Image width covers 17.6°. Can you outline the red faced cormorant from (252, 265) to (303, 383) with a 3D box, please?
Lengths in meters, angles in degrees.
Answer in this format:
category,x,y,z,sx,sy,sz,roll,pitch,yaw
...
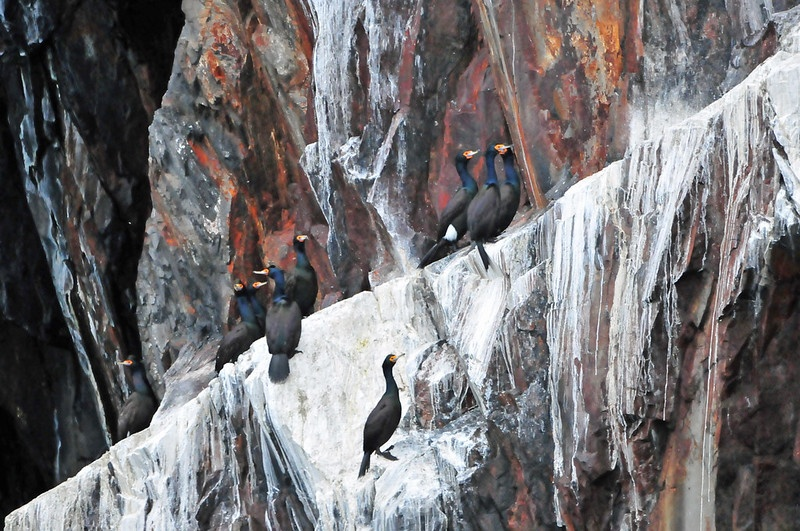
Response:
category,x,y,z,sx,sy,sz,roll,pitch,yaw
red faced cormorant,-1.570,0.595,34.927,0.455,1.589,0.987,-8,-37,12

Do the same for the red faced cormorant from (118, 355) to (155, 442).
category,x,y,z,sx,sy,sz,roll,pitch,yaw
red faced cormorant,-3.856,1.881,37.552,0.612,1.283,0.482,-4,-46,4

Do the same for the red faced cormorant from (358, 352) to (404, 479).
category,x,y,z,sx,sy,sz,roll,pitch,yaw
red faced cormorant,-0.271,1.898,34.090,0.660,1.617,0.476,-5,-13,-3

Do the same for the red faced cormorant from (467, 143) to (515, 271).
category,x,y,z,sx,sy,sz,roll,pitch,yaw
red faced cormorant,1.255,-0.897,34.845,0.670,1.824,0.500,-4,-13,-8
